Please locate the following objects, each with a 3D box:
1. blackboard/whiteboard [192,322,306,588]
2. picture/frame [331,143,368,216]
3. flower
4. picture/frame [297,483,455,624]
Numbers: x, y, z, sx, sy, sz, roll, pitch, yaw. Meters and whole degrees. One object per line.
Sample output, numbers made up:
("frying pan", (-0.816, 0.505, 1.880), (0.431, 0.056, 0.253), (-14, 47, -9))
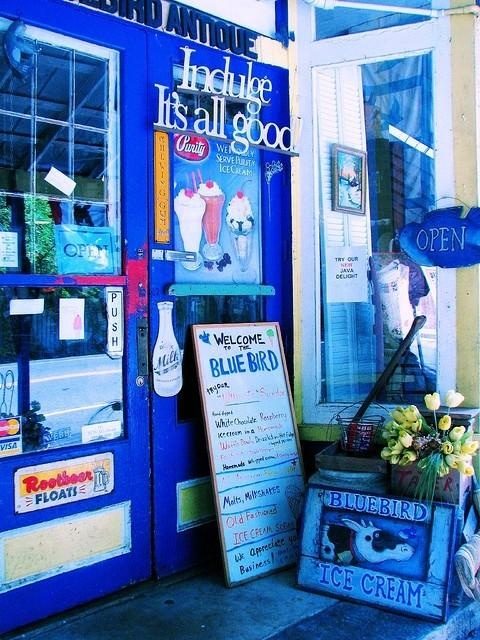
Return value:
("blackboard/whiteboard", (0.069, 0.592, 2.817), (0.568, 1.195, 0.028), (2, -14, -40))
("picture/frame", (0.598, -0.769, 3.170), (0.246, 0.402, 0.039), (-1, 1, -41))
("flower", (0.836, 0.507, 2.575), (0.346, 0.504, 0.362), (2, 5, 28))
("picture/frame", (0.550, 0.948, 2.431), (0.652, 0.417, 0.135), (-1, -1, 32))
